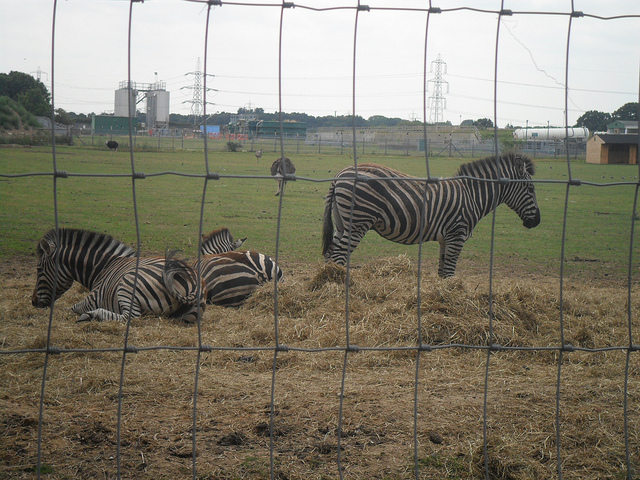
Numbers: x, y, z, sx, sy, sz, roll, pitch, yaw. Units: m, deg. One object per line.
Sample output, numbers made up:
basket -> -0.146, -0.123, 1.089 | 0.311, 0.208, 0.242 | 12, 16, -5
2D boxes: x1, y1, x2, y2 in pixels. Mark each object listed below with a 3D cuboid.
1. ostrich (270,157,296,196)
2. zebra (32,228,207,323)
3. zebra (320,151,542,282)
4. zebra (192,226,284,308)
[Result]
ostrich -> -0.636, -1.116, 17.356 | 0.405, 0.677, 1.249 | 2, 0, -2
zebra -> -2.639, 0.503, 12.949 | 2.593, 1.251, 0.992 | 5, 7, 25
zebra -> 1.722, -0.284, 15.385 | 3.289, 2.378, 1.039 | 2, 13, -8
zebra -> -1.138, 0.351, 14.132 | 0.645, 1.036, 1.806 | 2, 5, 18
